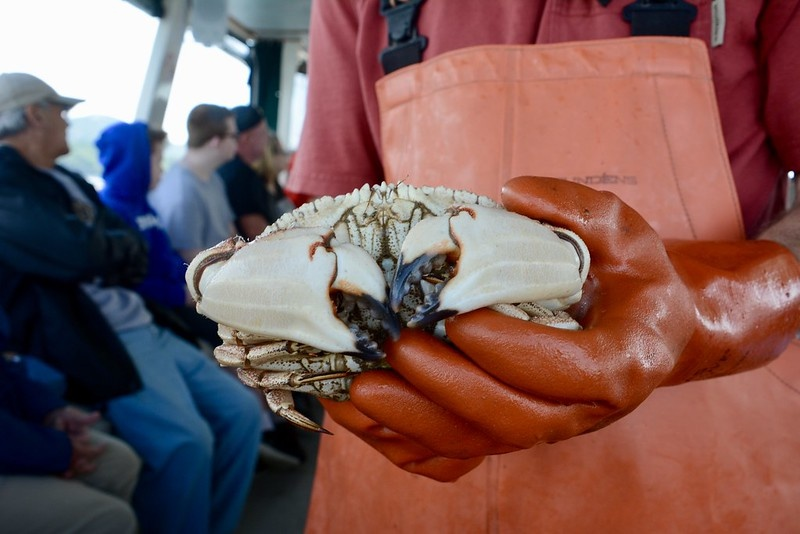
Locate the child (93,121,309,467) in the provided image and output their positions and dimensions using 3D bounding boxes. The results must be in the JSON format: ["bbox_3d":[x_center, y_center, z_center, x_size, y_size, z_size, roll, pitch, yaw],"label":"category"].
[{"bbox_3d":[-0.849,0.163,3.222,0.919,1.508,0.489,-21,-5,42],"label":"child"}]

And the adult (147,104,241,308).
[{"bbox_3d":[-0.930,-0.273,3.117,0.294,0.954,0.472,-5,56,2],"label":"adult"}]

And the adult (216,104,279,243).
[{"bbox_3d":[-0.907,-0.523,4.301,0.391,0.856,0.606,-9,25,-9],"label":"adult"}]

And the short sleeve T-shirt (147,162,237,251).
[{"bbox_3d":[-1.034,-0.297,3.445,0.214,0.320,0.439,-11,31,16],"label":"short sleeve T-shirt"}]

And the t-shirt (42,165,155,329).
[{"bbox_3d":[-1.061,-0.018,2.565,0.291,0.412,0.120,-5,15,20],"label":"t-shirt"}]
